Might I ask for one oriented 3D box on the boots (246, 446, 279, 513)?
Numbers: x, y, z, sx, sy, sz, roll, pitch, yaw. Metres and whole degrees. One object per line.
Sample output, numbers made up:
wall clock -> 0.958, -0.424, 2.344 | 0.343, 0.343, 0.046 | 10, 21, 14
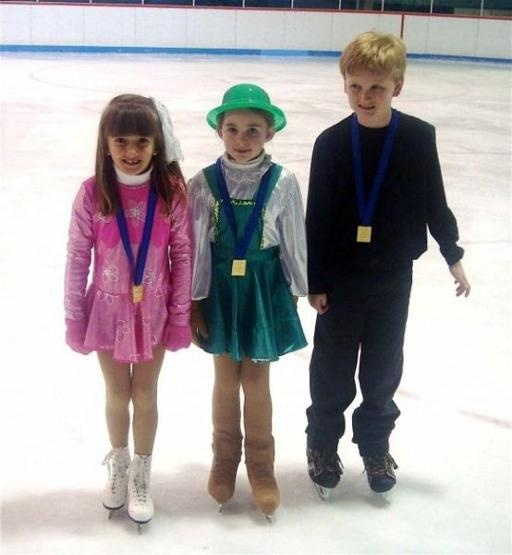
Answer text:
boots -> 0.015, 0.714, 2.199 | 0.073, 0.123, 0.266 | -4, 45, -4

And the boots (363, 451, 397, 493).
boots -> 0.474, 0.731, 2.342 | 0.067, 0.076, 0.183 | -24, 11, 7

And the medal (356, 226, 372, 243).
medal -> 0.370, -0.145, 2.103 | 0.049, 0.056, 0.012 | 4, 3, 21

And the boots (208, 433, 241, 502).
boots -> -0.112, 0.685, 2.219 | 0.074, 0.280, 0.118 | 3, -25, -3

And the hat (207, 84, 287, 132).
hat -> -0.034, -0.590, 2.080 | 0.246, 0.148, 0.290 | 1, 5, 0

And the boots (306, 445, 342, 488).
boots -> 0.248, 0.711, 2.360 | 0.106, 0.090, 0.219 | -4, 29, -15

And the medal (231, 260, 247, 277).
medal -> -0.058, -0.030, 2.043 | 0.048, 0.062, 0.008 | 1, -4, -2

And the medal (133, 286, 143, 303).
medal -> -0.387, 0.054, 2.008 | 0.035, 0.056, 0.018 | -5, 16, -21

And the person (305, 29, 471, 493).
person -> 0.445, -0.003, 2.198 | 0.541, 1.643, 0.299 | 2, 15, 4

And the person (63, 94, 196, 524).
person -> -0.415, 0.125, 2.042 | 0.427, 1.405, 0.343 | -5, 16, -20

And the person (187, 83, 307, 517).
person -> -0.031, 0.080, 2.162 | 0.423, 1.452, 0.413 | 6, 16, 19

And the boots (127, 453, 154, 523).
boots -> -0.396, 0.736, 2.133 | 0.082, 0.197, 0.268 | -3, -3, 2
